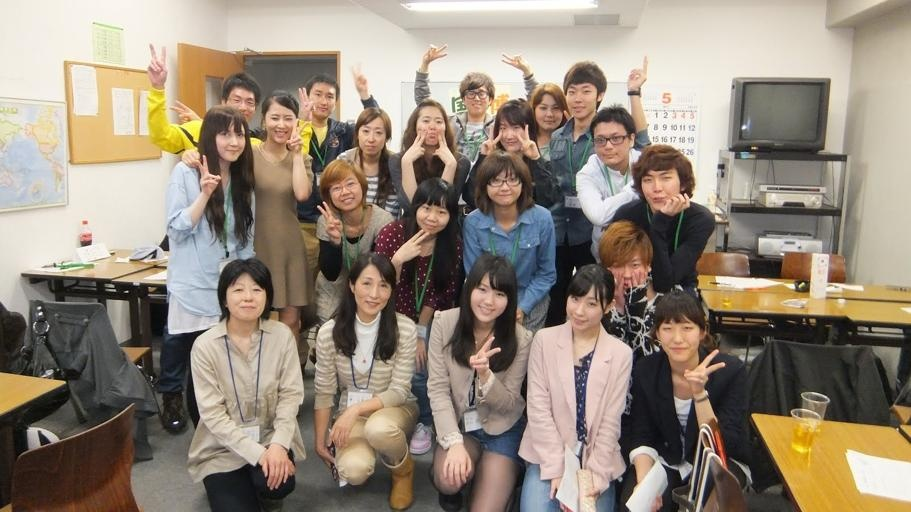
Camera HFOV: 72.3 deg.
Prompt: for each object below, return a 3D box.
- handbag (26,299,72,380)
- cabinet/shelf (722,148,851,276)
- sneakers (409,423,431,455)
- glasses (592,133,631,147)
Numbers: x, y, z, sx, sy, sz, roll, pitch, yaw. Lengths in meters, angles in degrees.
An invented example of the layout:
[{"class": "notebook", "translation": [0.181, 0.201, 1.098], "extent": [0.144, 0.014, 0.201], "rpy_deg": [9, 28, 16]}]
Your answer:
[{"class": "handbag", "translation": [-3.195, 0.665, 4.857], "extent": [0.325, 0.605, 0.179], "rpy_deg": [6, 11, 35]}, {"class": "cabinet/shelf", "translation": [3.961, -0.566, 7.369], "extent": [1.583, 1.735, 0.679], "rpy_deg": [1, 17, 5]}, {"class": "sneakers", "translation": [-0.267, 1.409, 4.789], "extent": [0.166, 0.172, 0.199], "rpy_deg": [0, 8, 3]}, {"class": "glasses", "translation": [1.220, -0.912, 4.891], "extent": [0.238, 0.088, 0.041], "rpy_deg": [2, 9, 12]}]
